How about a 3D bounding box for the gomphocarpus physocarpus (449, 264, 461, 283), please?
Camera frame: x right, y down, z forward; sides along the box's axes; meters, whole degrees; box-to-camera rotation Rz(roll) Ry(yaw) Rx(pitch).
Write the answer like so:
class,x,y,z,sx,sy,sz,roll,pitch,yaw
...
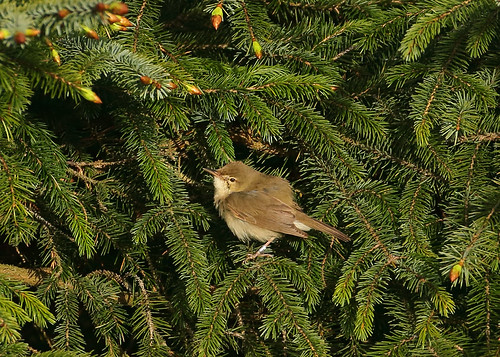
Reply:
class,x,y,z,sx,sy,sz,roll,pitch,yaw
gomphocarpus physocarpus,1.646,0.769,5.378,0.079,0.073,0.163,0,42,35
